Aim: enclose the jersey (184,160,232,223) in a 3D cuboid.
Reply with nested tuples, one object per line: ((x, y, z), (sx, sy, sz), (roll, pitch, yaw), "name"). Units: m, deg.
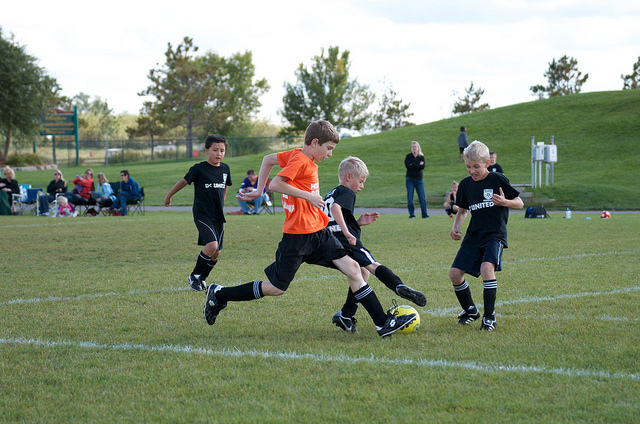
((-1.727, -0.308, 11.897), (0.672, 0.960, 0.550), (-3, 6, -19), "jersey")

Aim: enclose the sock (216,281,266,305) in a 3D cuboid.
((-0.998, 1.004, 9.519), (0.709, 0.289, 0.241), (-6, -4, 6), "sock")

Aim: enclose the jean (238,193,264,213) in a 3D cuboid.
((-1.598, -0.191, 17.897), (0.438, 0.453, 0.601), (-1, 40, 4), "jean")

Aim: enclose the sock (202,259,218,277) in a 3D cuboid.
((-1.655, 0.834, 11.382), (0.094, 0.356, 0.104), (40, -31, -6), "sock")

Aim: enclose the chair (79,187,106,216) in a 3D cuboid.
((-6.639, -0.371, 22.122), (0.738, 0.887, 0.669), (4, 2, 40), "chair")

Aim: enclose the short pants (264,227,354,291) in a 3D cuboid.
((-0.210, 0.493, 9.481), (1.094, 0.675, 0.772), (-16, 11, -37), "short pants")

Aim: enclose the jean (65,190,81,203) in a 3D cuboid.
((-7.071, -0.428, 21.747), (0.361, 0.323, 0.143), (3, -15, -3), "jean")

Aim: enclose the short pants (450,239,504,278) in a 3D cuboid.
((2.078, 0.534, 9.896), (0.673, 0.604, 0.385), (0, -26, 28), "short pants")

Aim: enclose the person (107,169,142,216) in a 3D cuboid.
((-5.555, -0.565, 21.891), (0.684, 1.225, 0.720), (0, 6, 19), "person")

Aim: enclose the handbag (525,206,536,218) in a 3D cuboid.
((5.810, 0.003, 21.071), (0.287, 0.266, 0.423), (0, 5, 12), "handbag")

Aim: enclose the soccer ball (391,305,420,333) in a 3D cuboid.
((1.059, 1.363, 9.607), (0.332, 0.301, 0.328), (11, -15, 3), "soccer ball")

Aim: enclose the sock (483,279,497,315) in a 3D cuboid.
((2.126, 1.057, 9.550), (0.140, 0.419, 0.191), (-1, 5, 9), "sock")

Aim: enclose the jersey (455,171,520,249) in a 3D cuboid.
((2.163, -0.037, 9.925), (0.826, 0.946, 0.444), (0, 5, 13), "jersey")

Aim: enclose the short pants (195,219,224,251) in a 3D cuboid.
((-1.662, 0.342, 11.588), (0.400, 0.459, 0.466), (-3, 5, -14), "short pants")

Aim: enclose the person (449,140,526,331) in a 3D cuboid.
((2.107, 0.255, 9.835), (0.863, 2.311, 1.058), (0, 5, 13), "person")

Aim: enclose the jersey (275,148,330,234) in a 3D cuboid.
((-0.216, -0.262, 9.449), (0.605, 1.042, 0.533), (-2, 5, -2), "jersey")

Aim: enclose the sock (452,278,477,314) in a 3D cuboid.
((1.857, 1.082, 9.764), (0.300, 0.418, 0.153), (0, 6, 14), "sock")

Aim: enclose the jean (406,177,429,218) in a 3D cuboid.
((2.653, -0.396, 20.761), (0.562, 1.116, 0.629), (-1, 5, 5), "jean")

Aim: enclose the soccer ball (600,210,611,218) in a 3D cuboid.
((7.733, 0.075, 20.539), (0.274, 0.209, 0.220), (4, 8, -24), "soccer ball")

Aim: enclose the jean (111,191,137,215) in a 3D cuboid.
((-5.634, -0.270, 21.793), (0.645, 0.347, 0.314), (-11, -18, -27), "jean")
